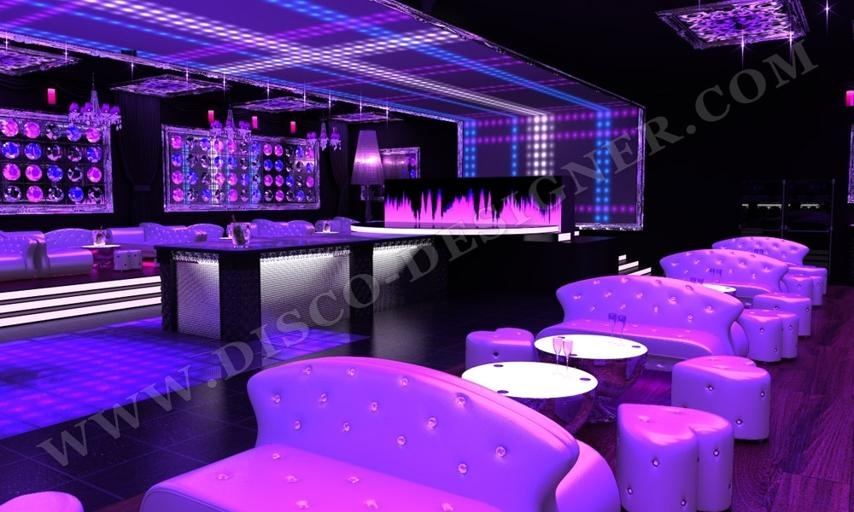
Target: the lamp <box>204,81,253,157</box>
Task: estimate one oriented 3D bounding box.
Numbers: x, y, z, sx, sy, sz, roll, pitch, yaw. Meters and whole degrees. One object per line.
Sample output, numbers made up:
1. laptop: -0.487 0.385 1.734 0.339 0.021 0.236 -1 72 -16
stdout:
1. lamp: -4.809 -3.249 13.503 1.163 1.435 1.234 10 12 36
